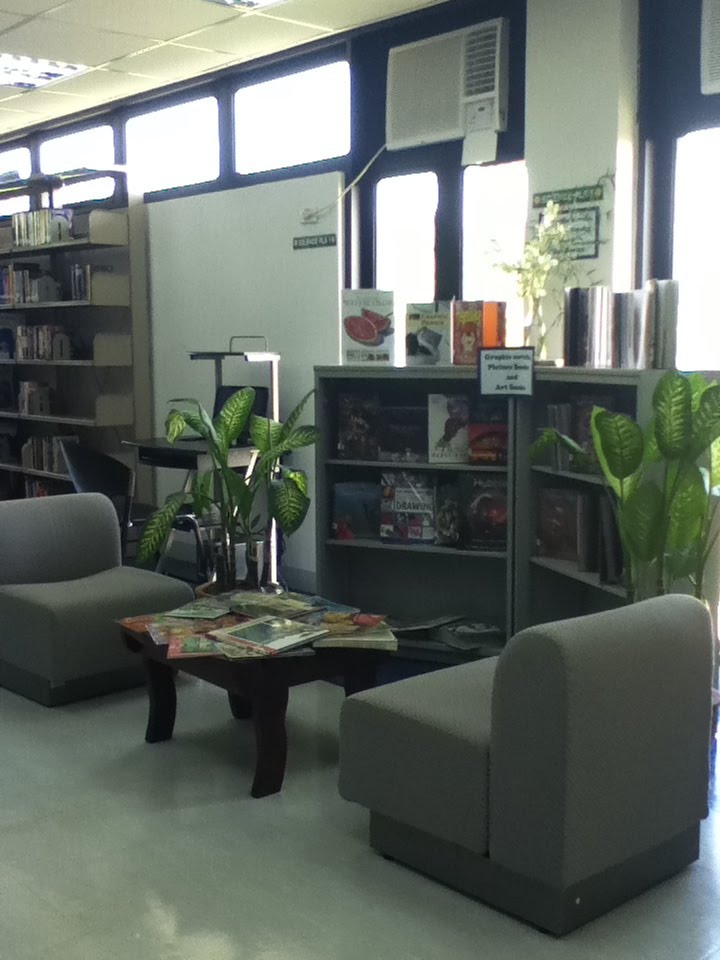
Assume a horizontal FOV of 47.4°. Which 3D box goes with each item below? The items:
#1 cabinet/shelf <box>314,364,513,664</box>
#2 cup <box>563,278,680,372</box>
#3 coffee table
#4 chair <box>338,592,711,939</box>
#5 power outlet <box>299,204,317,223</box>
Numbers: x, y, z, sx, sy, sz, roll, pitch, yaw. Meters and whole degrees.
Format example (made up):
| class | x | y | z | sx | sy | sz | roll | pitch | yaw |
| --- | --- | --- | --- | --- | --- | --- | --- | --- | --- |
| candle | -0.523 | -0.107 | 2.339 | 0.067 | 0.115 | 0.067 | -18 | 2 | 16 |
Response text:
| class | x | y | z | sx | sy | sz | roll | pitch | yaw |
| --- | --- | --- | --- | --- | --- | --- | --- | --- | --- |
| cabinet/shelf | 0.252 | 0.186 | 3.899 | 0.927 | 1.327 | 0.365 | 1 | 3 | -3 |
| cup | 0.884 | -0.515 | 2.778 | 0.261 | 0.327 | 0.450 | -3 | 8 | -18 |
| coffee table | -0.271 | 0.584 | 2.568 | 0.564 | 0.323 | 0.680 | 0 | 1 | -42 |
| chair | 0.402 | 0.599 | 1.973 | 0.623 | 0.687 | 0.658 | -6 | 7 | -41 |
| power outlet | -0.294 | -1.560 | 4.815 | 0.160 | 0.101 | 0.020 | 3 | 7 | 44 |
